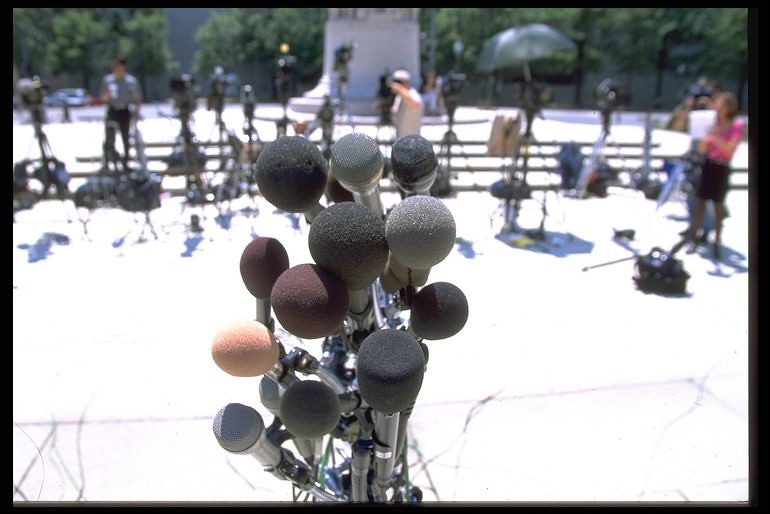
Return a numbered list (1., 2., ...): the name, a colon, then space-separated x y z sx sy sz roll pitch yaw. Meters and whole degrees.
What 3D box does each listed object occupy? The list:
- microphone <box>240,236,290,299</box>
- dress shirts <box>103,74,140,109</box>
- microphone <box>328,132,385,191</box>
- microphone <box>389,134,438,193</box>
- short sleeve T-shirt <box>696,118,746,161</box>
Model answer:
1. microphone: -0.766 0.042 4.396 0.338 0.435 0.347 -11 15 -40
2. dress shirts: -4.041 -2.530 10.232 0.507 0.509 0.288 10 48 -25
3. microphone: -0.172 -0.587 4.082 0.312 0.337 0.280 -1 4 -6
4. microphone: 0.179 -0.569 4.160 0.284 0.372 0.180 1 16 0
5. short sleeve T-shirt: 3.953 -1.497 8.291 0.683 0.357 0.924 7 26 14
